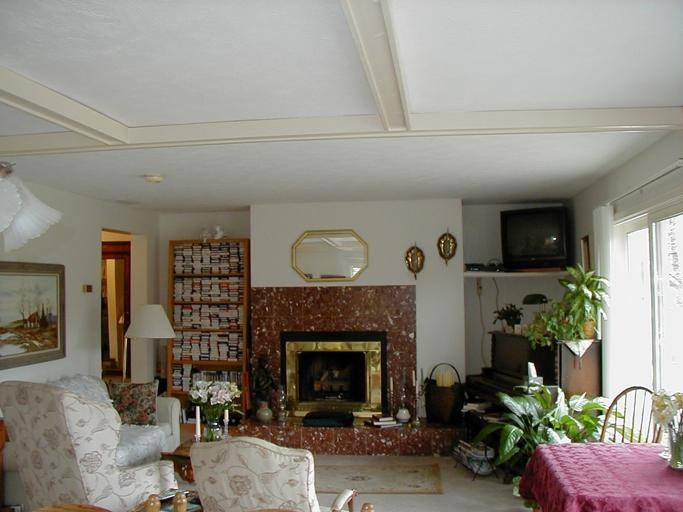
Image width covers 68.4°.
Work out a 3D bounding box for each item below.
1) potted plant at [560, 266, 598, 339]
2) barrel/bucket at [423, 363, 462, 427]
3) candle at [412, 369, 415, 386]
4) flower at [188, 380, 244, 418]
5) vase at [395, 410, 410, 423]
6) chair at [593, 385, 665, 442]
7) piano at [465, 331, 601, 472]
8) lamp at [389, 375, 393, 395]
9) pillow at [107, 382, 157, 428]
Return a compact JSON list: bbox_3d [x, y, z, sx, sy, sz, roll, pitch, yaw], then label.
[{"bbox_3d":[2.213,0.420,4.588,0.429,0.665,0.338,-2,-5,8],"label":"potted plant"},{"bbox_3d":[1.156,1.595,5.703,0.444,0.594,0.242,-2,-5,15],"label":"barrel/bucket"},{"bbox_3d":[0.867,1.455,5.984,0.042,0.182,0.108,-1,-5,4],"label":"candle"},{"bbox_3d":[-1.008,1.090,3.981,0.411,0.374,0.421,4,-7,-29],"label":"flower"},{"bbox_3d":[0.693,1.816,5.746,0.137,0.132,0.139,4,5,45],"label":"vase"},{"bbox_3d":[2.257,1.248,3.973,0.376,0.569,1.141,-4,-6,27],"label":"chair"},{"bbox_3d":[1.749,1.317,4.508,0.458,0.975,1.331,2,-6,4],"label":"piano"},{"bbox_3d":[0.598,1.559,6.030,0.039,0.229,0.080,-3,-6,20],"label":"lamp"},{"bbox_3d":[-2.056,1.453,4.993,0.408,0.413,0.128,1,-27,-5],"label":"pillow"}]
